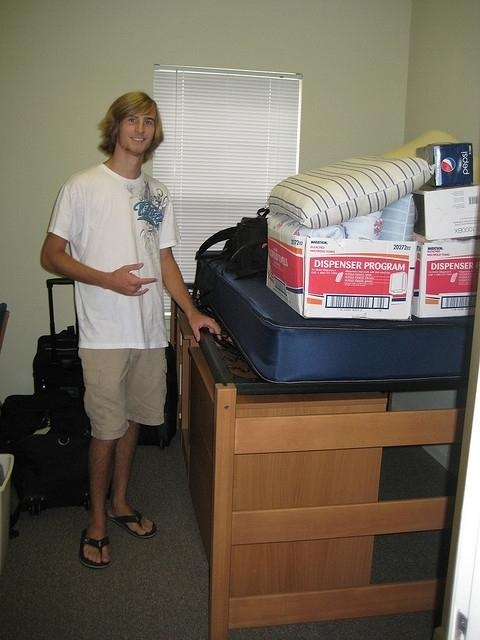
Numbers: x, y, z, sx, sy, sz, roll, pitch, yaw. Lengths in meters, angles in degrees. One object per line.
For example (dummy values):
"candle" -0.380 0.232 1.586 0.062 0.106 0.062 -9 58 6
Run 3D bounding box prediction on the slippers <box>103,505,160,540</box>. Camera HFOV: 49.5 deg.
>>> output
"slippers" -0.410 0.808 2.075 0.169 0.055 0.083 7 5 34

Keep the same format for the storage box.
"storage box" 0.353 -0.216 1.380 0.445 0.322 0.502 -2 25 0

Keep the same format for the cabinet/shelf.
"cabinet/shelf" 0.214 0.513 1.738 0.745 0.820 0.788 -1 9 -15

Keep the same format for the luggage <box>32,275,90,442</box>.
"luggage" -0.962 0.143 2.816 0.272 0.585 0.178 2 1 1

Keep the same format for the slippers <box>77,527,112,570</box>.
"slippers" -0.537 0.835 1.942 0.091 0.077 0.245 11 -2 -21
